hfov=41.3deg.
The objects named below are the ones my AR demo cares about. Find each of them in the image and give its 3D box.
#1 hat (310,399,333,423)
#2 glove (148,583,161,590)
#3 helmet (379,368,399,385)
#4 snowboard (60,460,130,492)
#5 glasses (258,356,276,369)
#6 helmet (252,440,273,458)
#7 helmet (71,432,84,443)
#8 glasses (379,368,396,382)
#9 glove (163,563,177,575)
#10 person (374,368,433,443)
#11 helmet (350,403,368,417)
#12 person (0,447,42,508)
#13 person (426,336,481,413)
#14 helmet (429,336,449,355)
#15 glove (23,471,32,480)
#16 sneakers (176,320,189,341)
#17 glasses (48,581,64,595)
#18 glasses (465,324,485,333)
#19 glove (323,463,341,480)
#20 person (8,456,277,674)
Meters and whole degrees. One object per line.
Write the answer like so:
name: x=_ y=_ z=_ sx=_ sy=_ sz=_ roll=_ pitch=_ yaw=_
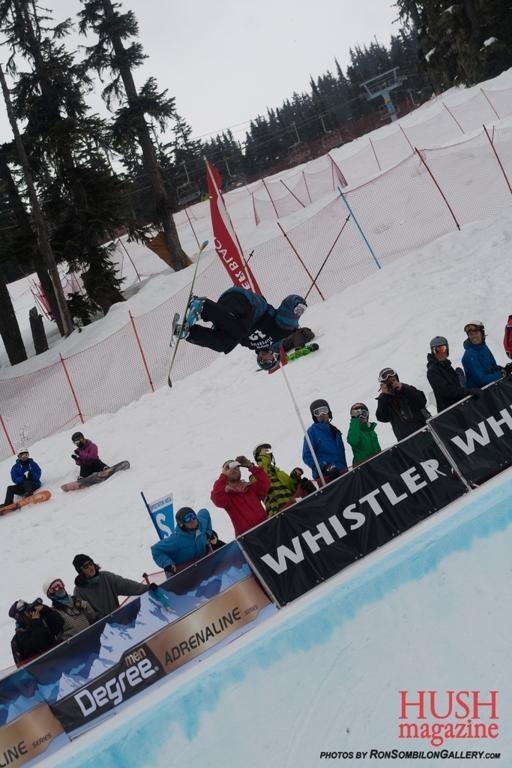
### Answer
hat: x=0.715 y=0.287 z=7.523 sx=0.223 sy=0.297 sz=0.244 roll=-20 pitch=1 yaw=-4
glove: x=-0.910 y=1.789 z=6.044 sx=0.083 sy=0.080 sz=0.083 roll=0 pitch=-11 yaw=-3
helmet: x=1.502 y=-0.084 z=7.568 sx=0.183 sy=0.206 sz=0.196 roll=-10 pitch=22 yaw=0
snowboard: x=-2.994 y=1.742 z=12.846 sx=0.915 sy=0.147 sz=0.250 roll=-23 pitch=41 yaw=-10
glasses: x=0.115 y=-0.262 z=7.414 sx=0.123 sy=0.143 sz=0.155 roll=1 pitch=-19 yaw=-30
helmet: x=0.067 y=0.707 z=7.473 sx=0.225 sy=0.225 sz=0.165 roll=6 pitch=1 yaw=-18
helmet: x=-3.346 y=0.990 z=12.761 sx=0.201 sy=0.205 sz=0.253 roll=0 pitch=-4 yaw=-7
glasses: x=1.475 y=-0.091 z=7.529 sx=0.141 sy=0.159 sz=0.152 roll=-10 pitch=24 yaw=-1
glove: x=-0.813 y=1.775 z=6.468 sx=0.092 sy=0.127 sz=0.047 roll=12 pitch=43 yaw=10
person: x=1.582 y=0.184 z=7.502 sx=0.441 sy=0.788 sz=0.426 roll=-27 pitch=4 yaw=-20
helmet: x=1.134 y=0.285 z=7.395 sx=0.133 sy=0.176 sz=0.144 roll=-5 pitch=50 yaw=-1
person: x=-4.702 y=1.904 z=13.635 sx=0.536 sy=0.747 sz=1.017 roll=-16 pitch=31 yaw=-8
person: x=2.008 y=-0.096 z=7.289 sx=0.409 sy=0.802 sz=0.792 roll=-25 pitch=4 yaw=15
helmet: x=2.027 y=-0.429 z=7.414 sx=0.194 sy=0.197 sz=0.218 roll=-7 pitch=5 yaw=0
glove: x=-4.451 y=1.763 z=13.254 sx=0.120 sy=0.170 sz=0.044 roll=4 pitch=0 yaw=0
sneakers: x=-0.600 y=-0.448 z=5.548 sx=0.102 sy=0.146 sz=0.053 roll=4 pitch=2 yaw=13
glasses: x=-1.901 y=1.921 z=6.404 sx=0.121 sy=0.063 sz=0.160 roll=-35 pitch=3 yaw=-36
glasses: x=2.394 y=-0.635 z=7.377 sx=0.111 sy=0.085 sz=0.168 roll=-10 pitch=-15 yaw=33
glove: x=0.774 y=0.872 z=6.920 sx=0.173 sy=0.156 sz=0.136 roll=-18 pitch=23 yaw=51
person: x=-0.824 y=1.554 z=6.478 sx=2.403 sy=0.891 sz=0.817 roll=-27 pitch=4 yaw=-15
